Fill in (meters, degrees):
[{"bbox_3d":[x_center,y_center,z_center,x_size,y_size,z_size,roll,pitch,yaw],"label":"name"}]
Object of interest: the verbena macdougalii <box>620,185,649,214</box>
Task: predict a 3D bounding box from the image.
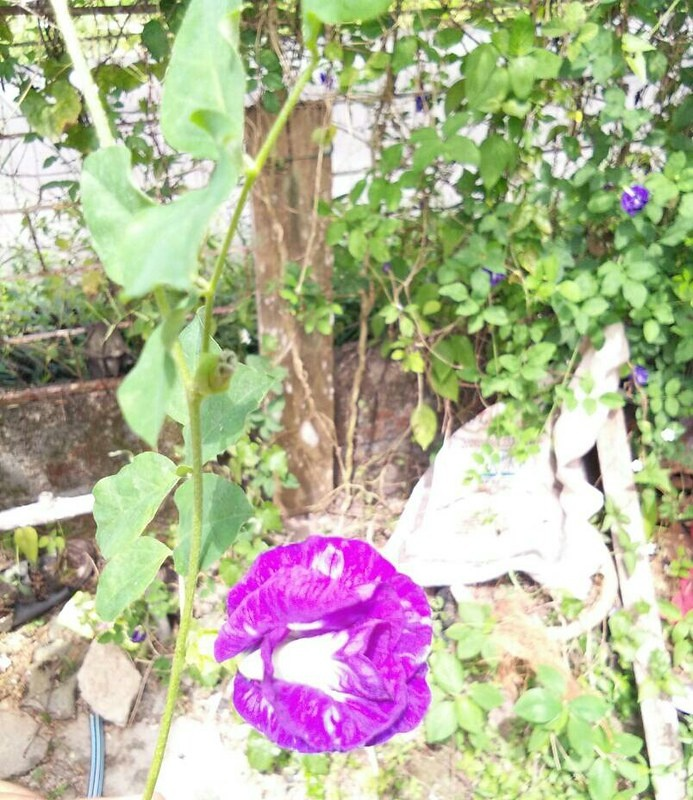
[{"bbox_3d":[0.587,-0.398,1.445,0.055,0.062,0.025,7,43,-2],"label":"verbena macdougalii"}]
